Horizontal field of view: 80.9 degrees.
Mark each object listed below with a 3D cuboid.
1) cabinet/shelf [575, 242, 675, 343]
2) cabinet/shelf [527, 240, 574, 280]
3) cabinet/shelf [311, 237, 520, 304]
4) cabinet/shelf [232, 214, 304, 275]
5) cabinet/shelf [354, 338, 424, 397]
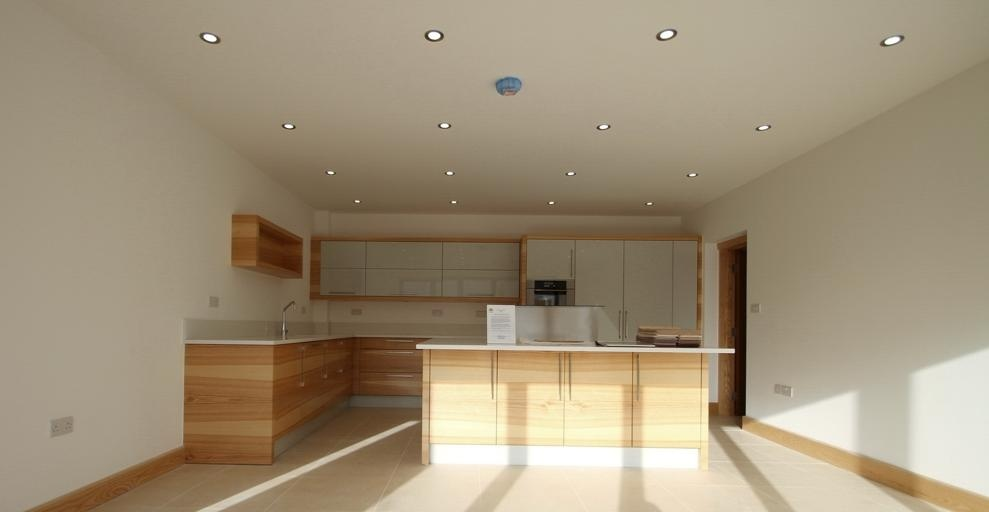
[{"bbox_3d":[2.043,0.611,8.887,1.885,1.670,0.719,0,-6,0],"label":"cabinet/shelf"},{"bbox_3d":[0.886,0.096,9.159,0.719,0.504,0.244,0,-6,-1],"label":"cabinet/shelf"},{"bbox_3d":[-1.336,0.217,9.285,3.150,0.955,0.338,1,7,2],"label":"cabinet/shelf"},{"bbox_3d":[-2.947,-0.091,7.553,0.337,0.903,1.375,1,5,3],"label":"cabinet/shelf"},{"bbox_3d":[-1.609,1.731,8.754,1.403,0.860,0.715,0,-7,0],"label":"cabinet/shelf"}]
